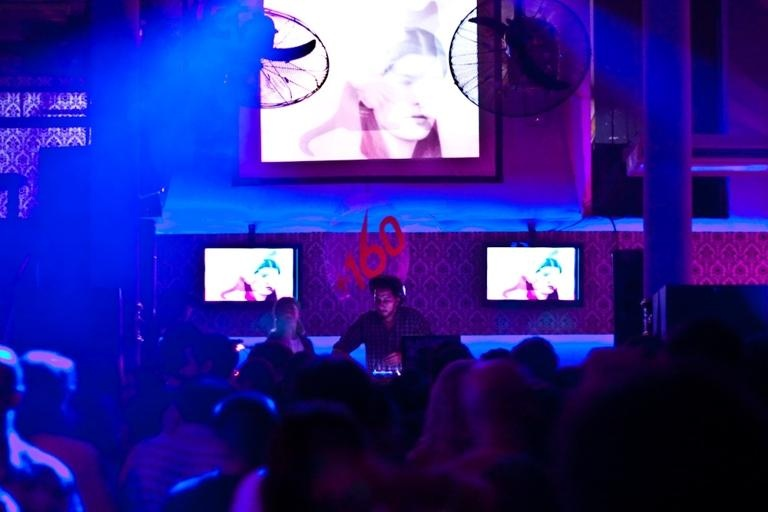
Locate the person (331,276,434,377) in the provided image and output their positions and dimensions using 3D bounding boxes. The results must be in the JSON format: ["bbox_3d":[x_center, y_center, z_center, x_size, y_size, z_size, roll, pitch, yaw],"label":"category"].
[{"bbox_3d":[-0.072,0.504,7.689,0.950,1.232,0.699,-2,-16,10],"label":"person"}]
